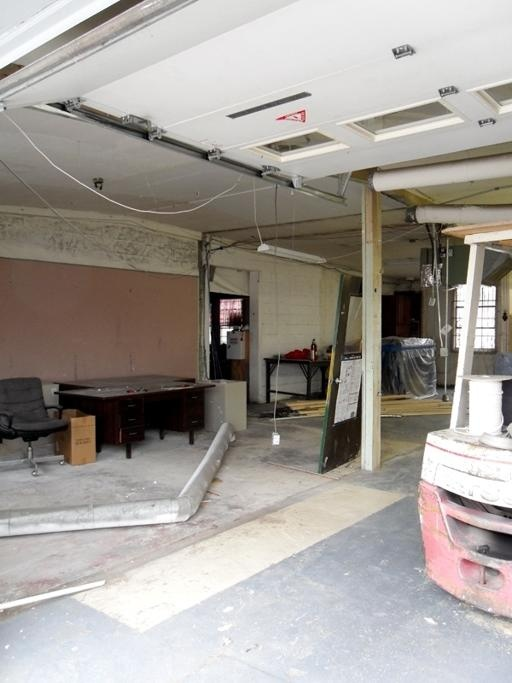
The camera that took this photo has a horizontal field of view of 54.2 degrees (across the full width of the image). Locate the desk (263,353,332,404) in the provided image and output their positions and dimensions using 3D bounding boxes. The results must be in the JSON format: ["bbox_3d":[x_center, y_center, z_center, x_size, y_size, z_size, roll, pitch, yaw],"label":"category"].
[{"bbox_3d":[0.736,0.925,11.562,1.145,0.802,0.945,5,-8,2],"label":"desk"}]

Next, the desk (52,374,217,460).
[{"bbox_3d":[-1.585,1.009,6.600,1.092,0.851,1.532,-1,-1,42],"label":"desk"}]
